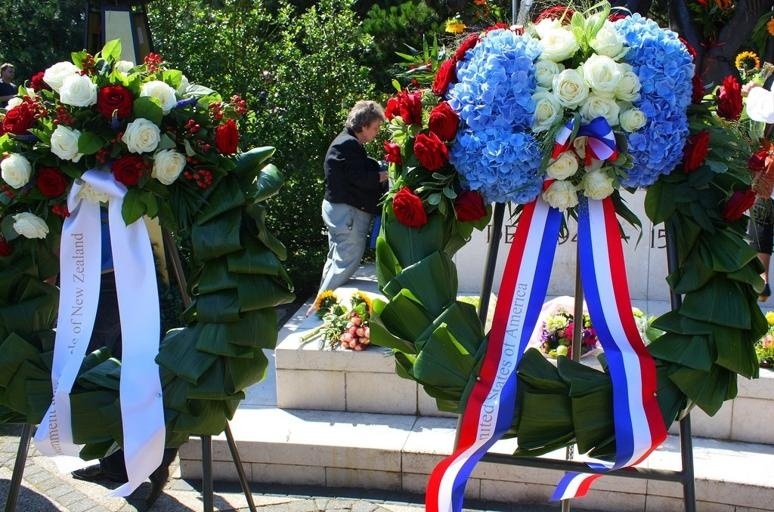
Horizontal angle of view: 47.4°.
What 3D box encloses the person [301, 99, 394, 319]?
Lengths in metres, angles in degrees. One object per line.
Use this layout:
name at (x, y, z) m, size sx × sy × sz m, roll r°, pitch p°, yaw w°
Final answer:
person at (-0.321, -0.582, 8.418) m, size 0.626 × 1.859 × 0.663 m, roll 2°, pitch 1°, yaw 2°
